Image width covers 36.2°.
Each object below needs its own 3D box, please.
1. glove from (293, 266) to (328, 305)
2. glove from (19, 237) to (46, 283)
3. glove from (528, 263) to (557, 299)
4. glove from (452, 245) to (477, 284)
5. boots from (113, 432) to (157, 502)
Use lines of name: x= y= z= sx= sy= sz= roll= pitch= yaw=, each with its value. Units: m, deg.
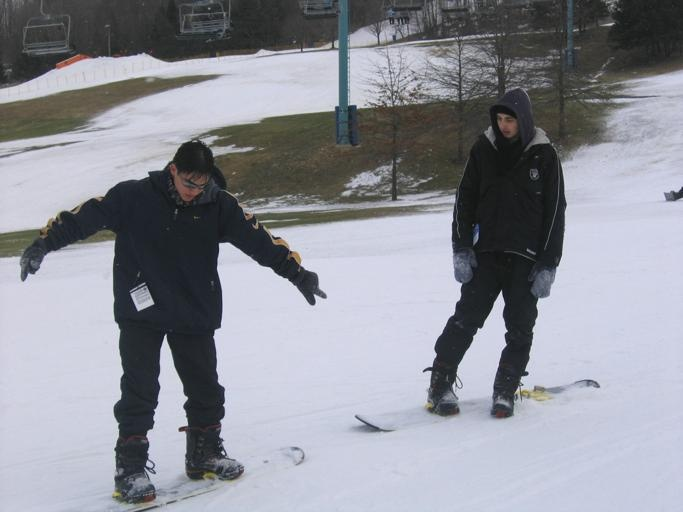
glove: x=-0.468 y=0.605 z=17.432 sx=0.393 sy=0.907 sz=0.305 roll=7 pitch=52 yaw=30
glove: x=-5.017 y=0.075 z=16.992 sx=0.379 sy=0.694 sz=0.222 roll=28 pitch=-5 yaw=-5
glove: x=3.349 y=0.430 z=17.487 sx=0.399 sy=0.537 sz=0.167 roll=-1 pitch=11 yaw=13
glove: x=2.060 y=0.191 z=17.605 sx=0.409 sy=0.551 sz=0.155 roll=-10 pitch=-8 yaw=32
boots: x=-3.373 y=3.431 z=16.781 sx=0.672 sy=1.022 sz=0.426 roll=-7 pitch=11 yaw=-13
